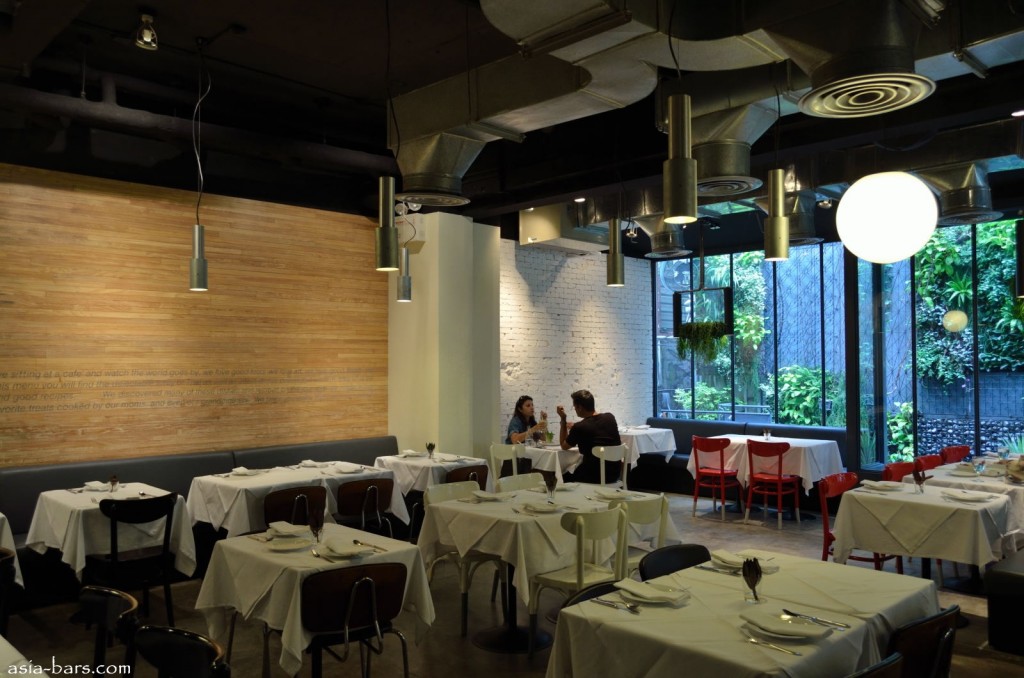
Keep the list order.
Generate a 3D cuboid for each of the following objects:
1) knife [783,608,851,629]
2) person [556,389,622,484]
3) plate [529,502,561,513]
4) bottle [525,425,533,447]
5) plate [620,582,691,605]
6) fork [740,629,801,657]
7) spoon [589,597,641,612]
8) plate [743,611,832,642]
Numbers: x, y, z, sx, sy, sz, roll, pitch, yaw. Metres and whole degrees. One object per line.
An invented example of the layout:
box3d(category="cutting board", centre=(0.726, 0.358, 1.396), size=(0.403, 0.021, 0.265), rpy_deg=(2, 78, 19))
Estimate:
box3d(category="knife", centre=(1.753, 1.617, 4.280), size=(0.267, 0.036, 0.048), rpy_deg=(0, 6, 36))
box3d(category="person", centre=(0.899, 1.298, 8.995), size=(0.807, 1.330, 0.644), rpy_deg=(14, 21, 34))
box3d(category="plate", centre=(0.253, 1.407, 6.188), size=(0.258, 0.051, 0.302), rpy_deg=(1, -5, -15))
box3d(category="bottle", centre=(0.239, 1.283, 9.930), size=(0.060, 0.204, 0.154), rpy_deg=(-3, 3, -7))
box3d(category="plate", centre=(0.851, 1.536, 4.484), size=(0.432, 0.111, 0.166), rpy_deg=(-1, -5, 8))
box3d(category="fork", centre=(1.420, 1.663, 4.051), size=(0.069, 0.055, 0.396), rpy_deg=(7, 0, -44))
box3d(category="spoon", centre=(0.631, 1.580, 4.418), size=(0.288, 0.025, 0.087), rpy_deg=(-2, -3, 44))
box3d(category="plate", centre=(1.523, 1.609, 4.149), size=(0.199, 0.053, 0.287), rpy_deg=(-1, -1, -45))
